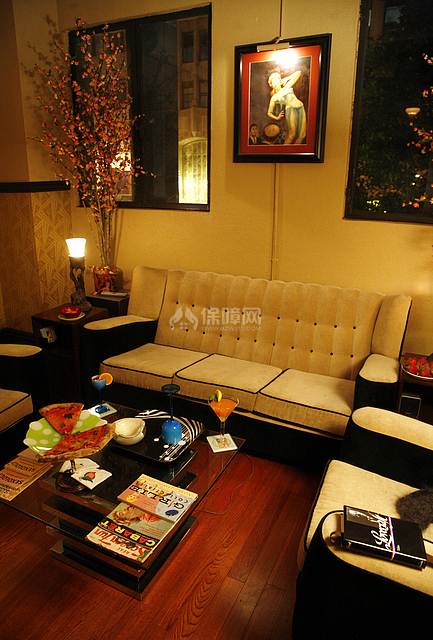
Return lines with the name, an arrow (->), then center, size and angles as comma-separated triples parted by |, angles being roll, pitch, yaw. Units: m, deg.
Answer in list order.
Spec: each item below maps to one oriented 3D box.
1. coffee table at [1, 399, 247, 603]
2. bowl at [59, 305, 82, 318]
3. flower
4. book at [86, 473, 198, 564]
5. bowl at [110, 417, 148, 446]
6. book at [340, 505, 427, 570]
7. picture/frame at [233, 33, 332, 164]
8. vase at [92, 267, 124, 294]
coffee table -> -0.398, 0.641, 1.709 | 0.586, 0.298, 0.602 | 13, 28, 26
bowl -> -1.017, -0.060, 3.172 | 0.102, 0.046, 0.105 | 3, 25, -1
flower -> -1.016, -1.392, 3.628 | 0.768, 1.931, 0.509 | 8, 15, 29
book -> -0.243, 0.622, 1.516 | 0.214, 0.054, 0.231 | 11, 28, 29
bowl -> -0.375, 0.450, 1.960 | 0.119, 0.055, 0.115 | 1, 23, 0
book -> 0.449, 0.577, 1.255 | 0.210, 0.038, 0.198 | 5, 14, 17
picture/frame -> 0.439, -1.433, 2.917 | 0.762, 0.923, 0.043 | 9, 18, 29
vase -> -0.902, -0.326, 3.832 | 0.242, 0.267, 0.205 | 2, 1, -5
